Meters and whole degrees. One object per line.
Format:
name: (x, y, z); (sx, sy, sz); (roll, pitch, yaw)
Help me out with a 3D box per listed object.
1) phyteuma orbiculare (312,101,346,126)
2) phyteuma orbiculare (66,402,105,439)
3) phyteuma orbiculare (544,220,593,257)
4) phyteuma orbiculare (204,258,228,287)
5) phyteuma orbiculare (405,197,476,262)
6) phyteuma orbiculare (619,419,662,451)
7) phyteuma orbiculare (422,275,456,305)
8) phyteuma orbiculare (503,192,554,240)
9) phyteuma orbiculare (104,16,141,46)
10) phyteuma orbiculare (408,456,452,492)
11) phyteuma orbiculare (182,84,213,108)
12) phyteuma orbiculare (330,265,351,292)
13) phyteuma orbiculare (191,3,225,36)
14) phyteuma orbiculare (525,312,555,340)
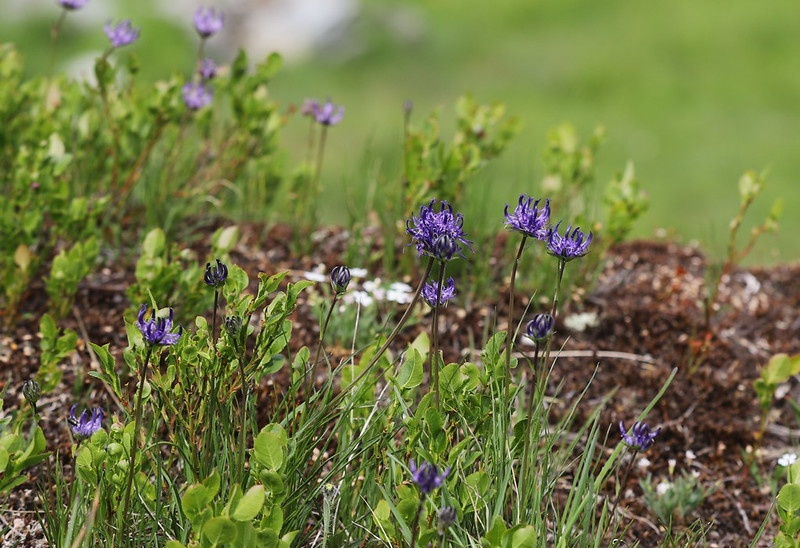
phyteuma orbiculare: (-0.307, -0.685, 3.854); (0.124, 0.110, 0.190); (3, 13, -7)
phyteuma orbiculare: (-1.272, 0.592, 3.653); (0.098, 0.161, 0.128); (11, 14, -6)
phyteuma orbiculare: (0.631, -0.108, 3.392); (0.129, 0.120, 0.137); (12, -9, -38)
phyteuma orbiculare: (-0.692, -0.002, 3.411); (0.075, 0.119, 0.092); (2, 5, 21)
phyteuma orbiculare: (0.138, -0.178, 3.389); (0.252, 0.199, 0.257); (9, 13, 17)
phyteuma orbiculare: (0.934, 0.616, 3.501); (0.126, 0.095, 0.152); (16, 5, 42)
phyteuma orbiculare: (0.154, 0.073, 3.506); (0.097, 0.131, 0.118); (4, -1, -8)
phyteuma orbiculare: (0.481, -0.223, 3.431); (0.168, 0.167, 0.216); (6, 12, 7)
phyteuma orbiculare: (-1.181, -1.016, 3.827); (0.128, 0.119, 0.182); (-2, 15, -31)
phyteuma orbiculare: (0.103, 0.699, 3.182); (0.112, 0.150, 0.125); (8, -3, 1)
phyteuma orbiculare: (-0.910, -0.798, 4.072); (0.148, 0.118, 0.130); (-6, 16, -41)
phyteuma orbiculare: (-0.226, 0.017, 3.396); (0.068, 0.115, 0.110); (2, 12, -7)
phyteuma orbiculare: (-0.810, -1.063, 3.827); (0.123, 0.132, 0.171); (2, 13, -14)
phyteuma orbiculare: (0.524, 0.192, 3.380); (0.077, 0.144, 0.087); (16, 1, -1)
